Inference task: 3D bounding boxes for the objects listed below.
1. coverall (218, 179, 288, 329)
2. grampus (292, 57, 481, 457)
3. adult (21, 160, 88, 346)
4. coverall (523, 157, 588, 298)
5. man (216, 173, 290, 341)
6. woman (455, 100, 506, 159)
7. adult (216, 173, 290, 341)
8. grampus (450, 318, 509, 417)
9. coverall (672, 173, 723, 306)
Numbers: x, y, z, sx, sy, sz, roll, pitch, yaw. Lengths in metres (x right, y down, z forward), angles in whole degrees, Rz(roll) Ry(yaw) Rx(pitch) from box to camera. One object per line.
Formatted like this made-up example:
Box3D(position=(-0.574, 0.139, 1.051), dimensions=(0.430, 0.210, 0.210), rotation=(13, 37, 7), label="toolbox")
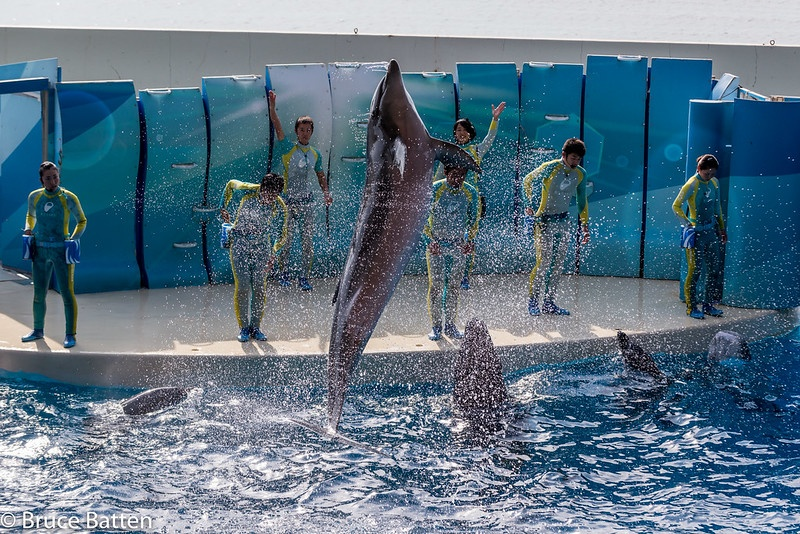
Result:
Box3D(position=(-1.680, -0.102, 12.867), dimensions=(0.683, 1.935, 0.647), rotation=(3, 2, -6), label="coverall")
Box3D(position=(-0.160, -0.124, 10.112), dimensions=(0.717, 3.136, 1.074), rotation=(12, 3, -11), label="grampus")
Box3D(position=(-3.910, -0.162, 12.695), dimensions=(0.692, 2.069, 0.517), rotation=(2, 2, -1), label="adult")
Box3D(position=(1.891, -0.468, 13.599), dimensions=(0.750, 1.665, 0.350), rotation=(2, 2, 9), label="coverall")
Box3D(position=(-1.729, -0.135, 13.278), dimensions=(0.745, 1.917, 1.506), rotation=(1, 2, -9), label="man")
Box3D(position=(0.966, -1.651, 13.785), dimensions=(0.174, 0.737, 0.681), rotation=(1, -6, -25), label="woman")
Box3D(position=(-1.729, -0.135, 13.278), dimensions=(0.745, 1.917, 1.506), rotation=(1, 2, -9), label="adult")
Box3D(position=(0.796, 0.977, 11.351), dimensions=(0.478, 0.968, 0.320), rotation=(-2, 3, 12), label="grampus")
Box3D(position=(3.656, -0.354, 13.754), dimensions=(0.594, 1.587, 0.935), rotation=(2, 2, 17), label="coverall")
